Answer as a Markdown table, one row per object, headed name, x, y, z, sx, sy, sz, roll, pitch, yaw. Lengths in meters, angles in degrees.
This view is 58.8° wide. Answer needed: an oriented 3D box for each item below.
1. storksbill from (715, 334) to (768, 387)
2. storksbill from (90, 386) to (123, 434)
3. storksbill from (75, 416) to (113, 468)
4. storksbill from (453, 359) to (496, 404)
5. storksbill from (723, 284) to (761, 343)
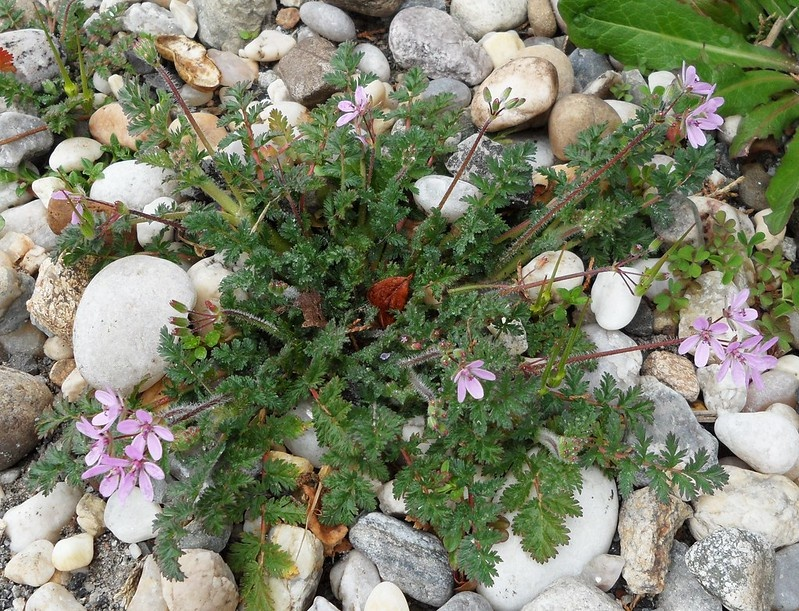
| name | x | y | z | sx | sy | sz | roll | pitch | yaw |
| --- | --- | --- | --- | --- | --- | --- | --- | --- | --- |
| storksbill | 1.412 | 0.223 | 2.902 | 0.219 | 0.130 | 0.194 | 3 | 83 | -1 |
| storksbill | -1.124 | 0.395 | 2.804 | 0.082 | 0.166 | 0.177 | 2 | 56 | -45 |
| storksbill | -1.191 | 0.530 | 2.813 | 0.095 | 0.214 | 0.241 | -14 | 89 | -25 |
| storksbill | 0.295 | 0.295 | 2.830 | 0.168 | 0.076 | 0.170 | -43 | 106 | 9 |
| storksbill | 1.437 | -0.011 | 3.012 | 0.076 | 0.204 | 0.155 | 34 | 52 | 20 |
